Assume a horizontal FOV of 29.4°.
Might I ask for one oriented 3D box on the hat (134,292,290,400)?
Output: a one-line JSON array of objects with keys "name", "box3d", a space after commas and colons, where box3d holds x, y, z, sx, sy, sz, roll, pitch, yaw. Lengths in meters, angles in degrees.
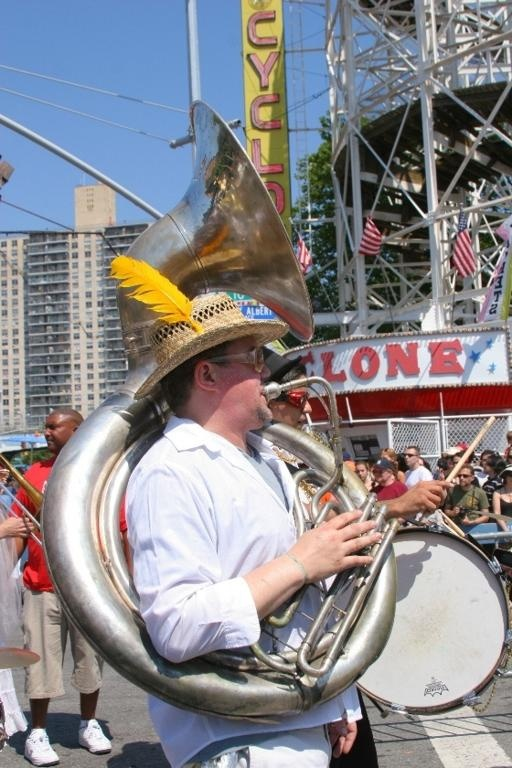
[{"name": "hat", "box3d": [-0.127, -0.149, 2.690, 0.354, 0.141, 0.295, -22, -17, -45]}]
